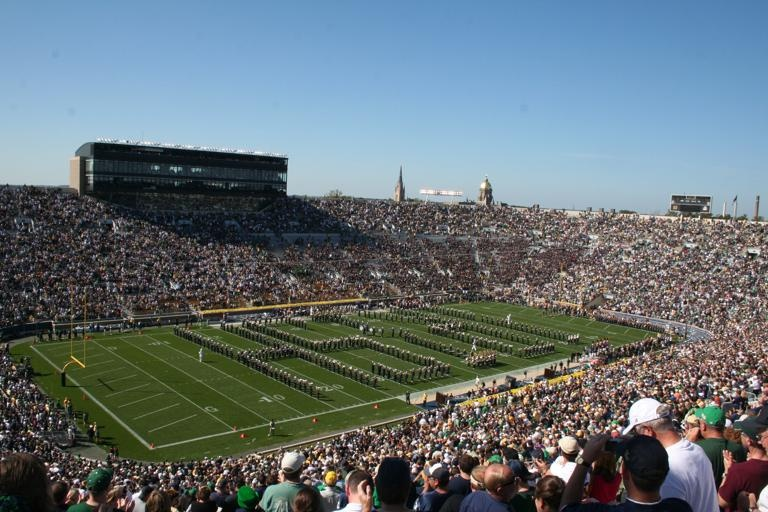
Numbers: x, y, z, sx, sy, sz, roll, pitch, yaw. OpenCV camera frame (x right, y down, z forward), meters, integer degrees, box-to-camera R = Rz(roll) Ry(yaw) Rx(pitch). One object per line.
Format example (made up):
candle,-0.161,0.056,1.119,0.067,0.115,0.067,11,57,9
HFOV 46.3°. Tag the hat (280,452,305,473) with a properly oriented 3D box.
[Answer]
hat,-3.556,8.127,35.820,0.636,0.525,0.912,2,21,14

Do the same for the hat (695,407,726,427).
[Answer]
hat,13.329,6.514,36.569,0.742,0.572,0.981,-11,27,-23

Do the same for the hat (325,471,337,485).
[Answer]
hat,-2.164,8.961,36.444,0.384,0.298,0.538,4,12,-2

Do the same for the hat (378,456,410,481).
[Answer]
hat,0.417,8.126,34.318,0.774,1.036,1.043,3,13,13
